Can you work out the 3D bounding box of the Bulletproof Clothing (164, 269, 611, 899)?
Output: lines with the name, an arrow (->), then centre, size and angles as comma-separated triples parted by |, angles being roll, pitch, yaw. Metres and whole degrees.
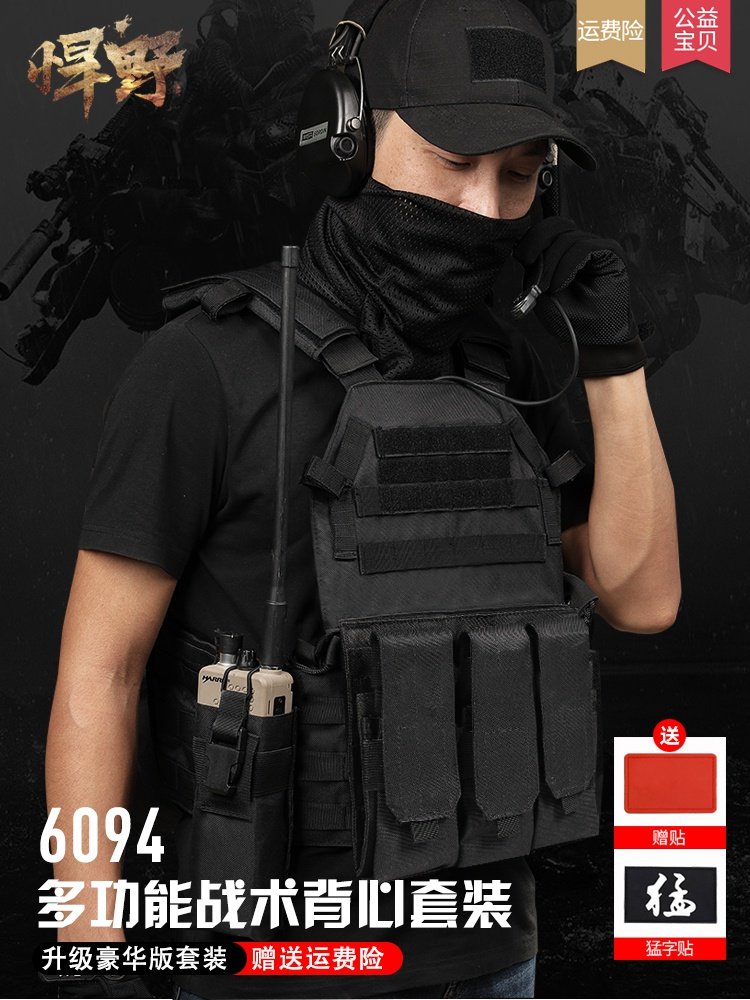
Bulletproof Clothing -> 0.030, 0.072, 1.282 | 0.573, 0.783, 0.233 | 2, -8, -21
